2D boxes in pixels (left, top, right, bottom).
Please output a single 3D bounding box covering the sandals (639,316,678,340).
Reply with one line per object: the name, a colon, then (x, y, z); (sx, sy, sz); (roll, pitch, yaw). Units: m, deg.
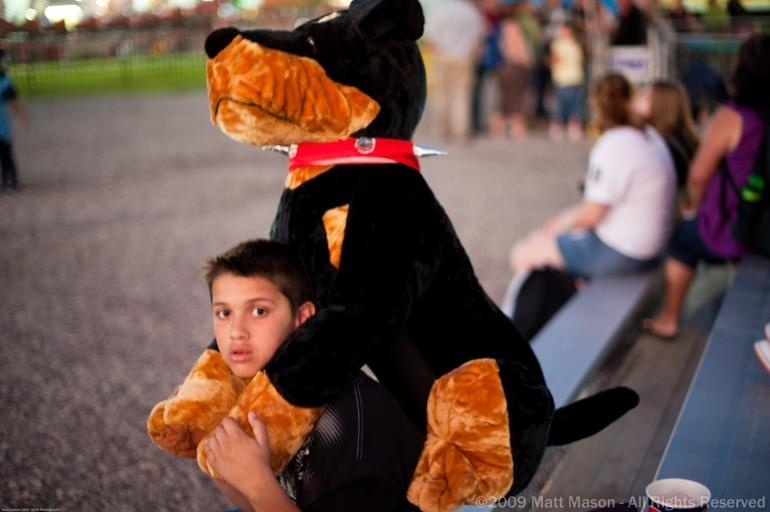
sandals: (1.288, 0.357, 3.380); (0.118, 0.029, 0.119); (20, 11, 2)
